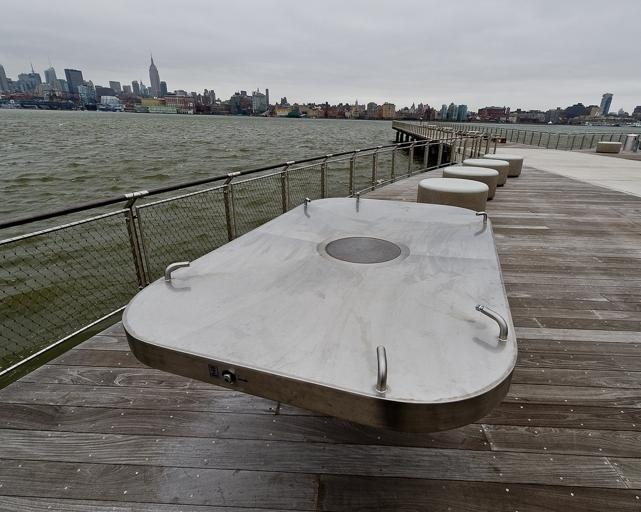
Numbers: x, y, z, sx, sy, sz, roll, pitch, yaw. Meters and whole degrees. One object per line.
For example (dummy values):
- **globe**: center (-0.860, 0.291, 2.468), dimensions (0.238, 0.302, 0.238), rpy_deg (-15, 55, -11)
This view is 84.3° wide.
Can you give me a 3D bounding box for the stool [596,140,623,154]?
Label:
- **stool**: center (13.611, -5.126, 16.764), dimensions (1.131, 0.406, 0.893), rpy_deg (2, 16, 13)
